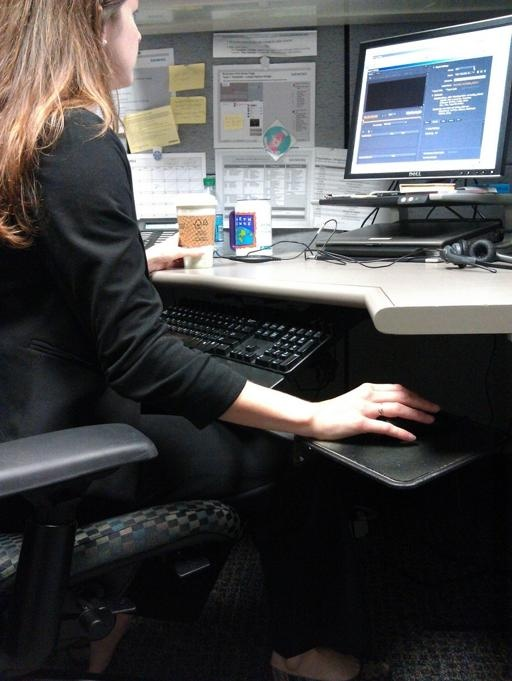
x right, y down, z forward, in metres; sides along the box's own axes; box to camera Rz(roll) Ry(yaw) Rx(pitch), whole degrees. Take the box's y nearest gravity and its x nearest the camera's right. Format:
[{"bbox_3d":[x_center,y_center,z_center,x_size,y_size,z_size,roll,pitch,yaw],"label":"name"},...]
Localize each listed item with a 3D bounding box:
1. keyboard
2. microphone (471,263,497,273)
[{"bbox_3d":[-0.006,-0.004,0.794,0.247,0.035,0.096,13,45,46],"label":"keyboard"},{"bbox_3d":[0.328,-0.104,0.791,0.012,0.006,0.042,44,5,-7],"label":"microphone"}]
